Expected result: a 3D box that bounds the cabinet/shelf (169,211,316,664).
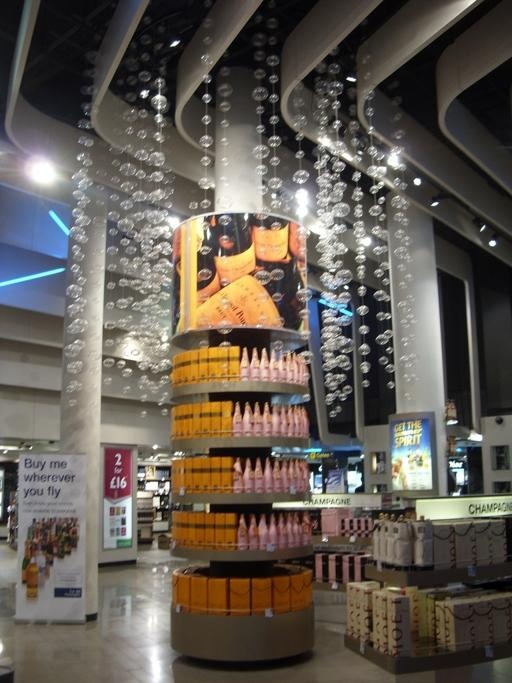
[{"bbox_3d":[-0.089,0.778,5.746,1.423,3.673,1.386,-3,-8,3],"label":"cabinet/shelf"}]
